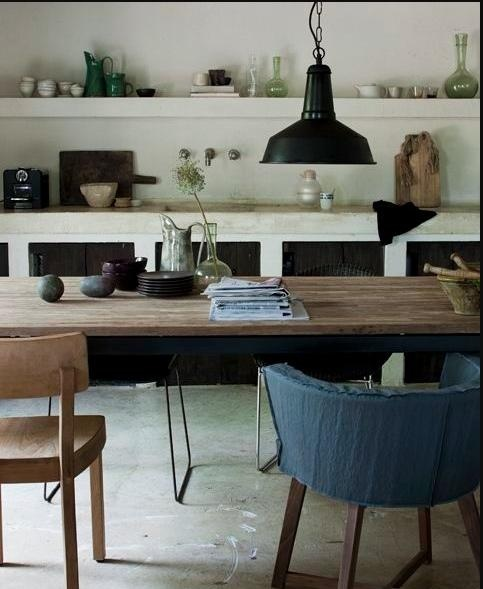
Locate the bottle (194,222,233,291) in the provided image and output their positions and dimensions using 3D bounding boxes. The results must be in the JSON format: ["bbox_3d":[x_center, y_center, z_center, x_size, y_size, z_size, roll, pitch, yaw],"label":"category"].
[{"bbox_3d":[-0.128,-0.161,2.768,0.181,0.309,0.180,-6,-3,0],"label":"bottle"}]

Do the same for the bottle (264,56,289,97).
[{"bbox_3d":[0.264,-1.610,4.597,0.173,0.295,0.174,2,12,0],"label":"bottle"}]

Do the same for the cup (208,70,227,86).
[{"bbox_3d":[-0.180,-1.590,4.517,0.101,0.098,0.130,0,4,-2],"label":"cup"}]

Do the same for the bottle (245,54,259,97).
[{"bbox_3d":[0.079,-1.658,4.690,0.080,0.310,0.178,0,9,0],"label":"bottle"}]

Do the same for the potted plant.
[{"bbox_3d":[-0.142,-0.303,2.692,0.158,0.628,0.173,-6,17,20],"label":"potted plant"}]

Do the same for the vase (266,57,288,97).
[{"bbox_3d":[0.264,-1.610,4.596,0.164,0.290,0.175,-4,12,-15],"label":"vase"}]

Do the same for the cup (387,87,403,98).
[{"bbox_3d":[1.149,-1.495,4.558,0.092,0.073,0.095,-1,5,0],"label":"cup"}]

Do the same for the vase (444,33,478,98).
[{"bbox_3d":[1.668,-1.719,4.626,0.221,0.531,0.411,4,10,26],"label":"vase"}]

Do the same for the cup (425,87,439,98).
[{"bbox_3d":[1.429,-1.499,4.595,0.082,0.090,0.099,1,8,0],"label":"cup"}]

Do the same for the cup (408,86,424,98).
[{"bbox_3d":[1.299,-1.492,4.537,0.080,0.067,0.090,0,4,0],"label":"cup"}]

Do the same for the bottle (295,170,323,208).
[{"bbox_3d":[0.505,-0.783,4.553,0.236,0.265,0.246,-4,10,-24],"label":"bottle"}]

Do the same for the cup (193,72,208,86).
[{"bbox_3d":[-0.300,-1.571,4.520,0.093,0.077,0.098,0,7,0],"label":"cup"}]

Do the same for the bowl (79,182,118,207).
[{"bbox_3d":[-1.056,-0.738,4.535,0.196,0.144,0.208,-1,-1,0],"label":"bowl"}]

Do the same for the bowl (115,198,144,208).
[{"bbox_3d":[-0.854,-0.697,4.683,0.188,0.067,0.362,2,9,13],"label":"bowl"}]

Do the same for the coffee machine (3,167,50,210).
[{"bbox_3d":[-1.586,-0.776,4.527,0.344,0.299,0.365,-4,10,-25],"label":"coffee machine"}]

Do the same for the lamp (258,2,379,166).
[{"bbox_3d":[0.280,-0.677,2.254,0.398,0.394,0.243,0,9,3],"label":"lamp"}]

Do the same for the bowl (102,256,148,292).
[{"bbox_3d":[-0.523,-0.092,2.755,0.161,0.129,0.161,-3,-3,0],"label":"bowl"}]

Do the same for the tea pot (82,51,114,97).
[{"bbox_3d":[-1.100,-1.653,4.637,0.210,0.376,0.300,0,9,-1],"label":"tea pot"}]
